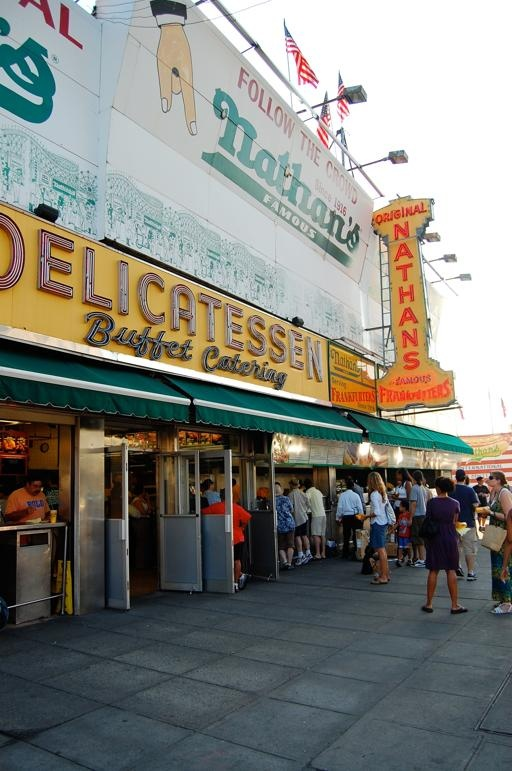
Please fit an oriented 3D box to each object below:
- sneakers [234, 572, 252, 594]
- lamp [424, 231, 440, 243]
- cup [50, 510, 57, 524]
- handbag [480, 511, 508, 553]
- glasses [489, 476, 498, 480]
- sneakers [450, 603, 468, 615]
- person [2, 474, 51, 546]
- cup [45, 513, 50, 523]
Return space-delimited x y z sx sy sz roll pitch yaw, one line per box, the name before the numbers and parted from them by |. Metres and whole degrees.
sneakers | -0.195 3.168 8.805 0.132 0.199 0.422 -1 -3 15
lamp | 6.233 -5.156 19.385 0.466 0.324 0.707 -4 -13 12
cup | -2.707 1.766 7.345 0.117 0.191 0.132 0 -13 -2
handbag | 2.883 1.856 6.657 0.245 0.332 0.382 1 -13 -9
glasses | 3.175 1.232 7.321 0.058 0.086 0.073 1 -23 -2
sneakers | 2.479 2.737 6.666 0.098 0.117 0.276 -20 -44 38
person | -3.072 1.667 7.375 0.567 0.784 0.917 4 -14 -21
cup | -2.890 1.845 7.622 0.072 0.150 0.077 0 -10 0
